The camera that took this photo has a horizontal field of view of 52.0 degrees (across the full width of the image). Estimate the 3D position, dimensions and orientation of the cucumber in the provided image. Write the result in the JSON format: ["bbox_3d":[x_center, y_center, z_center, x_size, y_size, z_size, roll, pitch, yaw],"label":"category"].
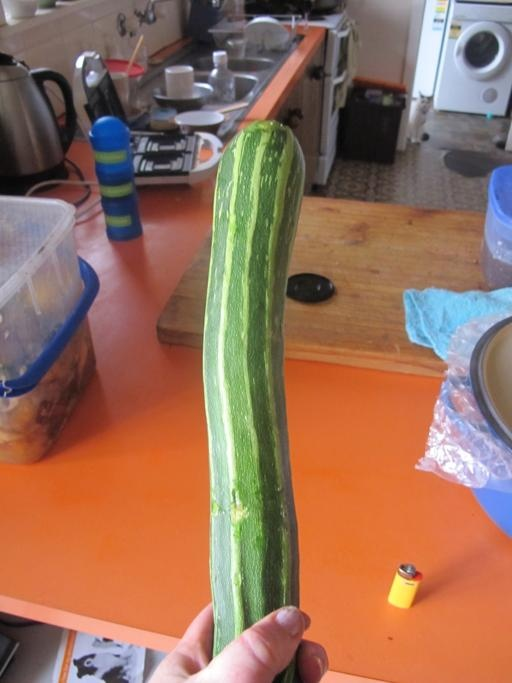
[{"bbox_3d":[0.009,0.011,0.394,0.064,0.054,0.409,-8,73,37],"label":"cucumber"}]

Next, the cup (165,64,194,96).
[{"bbox_3d":[-0.220,-0.735,1.497,0.081,0.073,0.082,-2,38,1],"label":"cup"}]

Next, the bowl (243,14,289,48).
[{"bbox_3d":[0.036,-1.112,1.910,0.168,0.100,0.093,3,38,7],"label":"bowl"}]

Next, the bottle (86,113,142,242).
[{"bbox_3d":[-0.247,-0.292,0.918,0.069,0.204,0.134,-10,37,-11],"label":"bottle"}]

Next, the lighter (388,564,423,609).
[{"bbox_3d":[0.122,0.201,0.429,0.022,0.039,0.021,8,21,-10],"label":"lighter"}]
